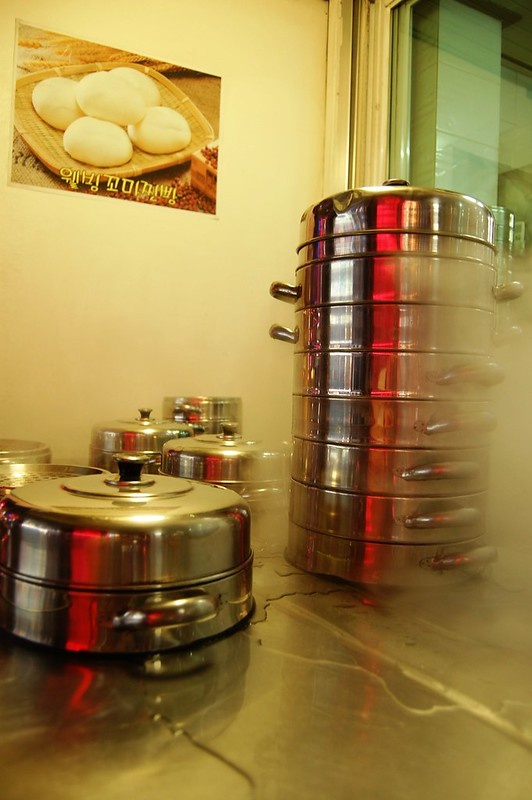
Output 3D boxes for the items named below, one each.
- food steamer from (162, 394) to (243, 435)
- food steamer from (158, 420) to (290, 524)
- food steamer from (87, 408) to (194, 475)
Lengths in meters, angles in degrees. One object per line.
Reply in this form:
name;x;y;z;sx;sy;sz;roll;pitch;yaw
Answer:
food steamer;-0.185;0.032;1.793;0.156;0.105;0.151;0;-1;10
food steamer;-0.051;0.102;0.979;0.150;0.094;0.129;2;-4;-1
food steamer;-0.232;0.080;1.315;0.191;0.127;0.192;9;9;28
